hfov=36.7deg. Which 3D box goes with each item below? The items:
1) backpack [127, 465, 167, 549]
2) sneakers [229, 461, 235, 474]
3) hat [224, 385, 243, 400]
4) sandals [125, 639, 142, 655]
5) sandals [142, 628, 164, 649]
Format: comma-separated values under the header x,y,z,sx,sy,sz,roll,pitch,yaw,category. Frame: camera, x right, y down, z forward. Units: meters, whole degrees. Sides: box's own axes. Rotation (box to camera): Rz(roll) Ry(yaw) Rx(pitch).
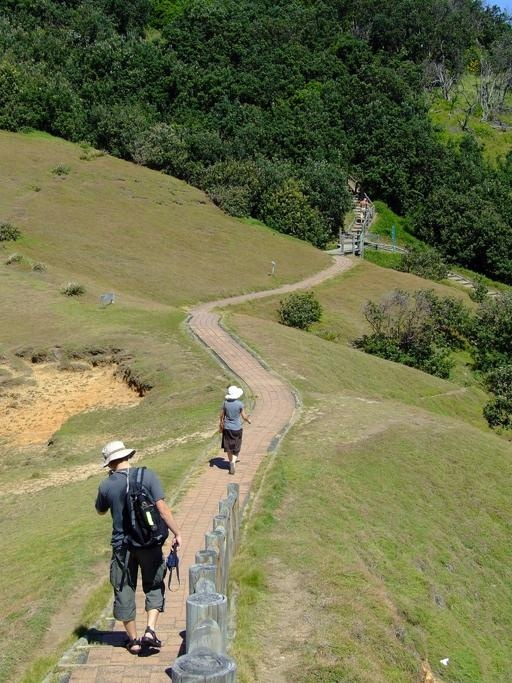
x,y,z,sx,sy,sz,roll,pitch,yaw,category
-1.085,1.598,7.296,0.477,0.701,0.262,19,20,23,backpack
-0.381,2.135,13.007,0.079,0.220,0.096,-1,6,-22,sneakers
-0.368,0.880,12.608,0.209,0.280,0.305,9,18,-7,hat
-1.206,3.031,7.676,0.097,0.097,0.234,1,5,-6,sandals
-1.014,2.951,7.617,0.133,0.291,0.131,-12,53,6,sandals
